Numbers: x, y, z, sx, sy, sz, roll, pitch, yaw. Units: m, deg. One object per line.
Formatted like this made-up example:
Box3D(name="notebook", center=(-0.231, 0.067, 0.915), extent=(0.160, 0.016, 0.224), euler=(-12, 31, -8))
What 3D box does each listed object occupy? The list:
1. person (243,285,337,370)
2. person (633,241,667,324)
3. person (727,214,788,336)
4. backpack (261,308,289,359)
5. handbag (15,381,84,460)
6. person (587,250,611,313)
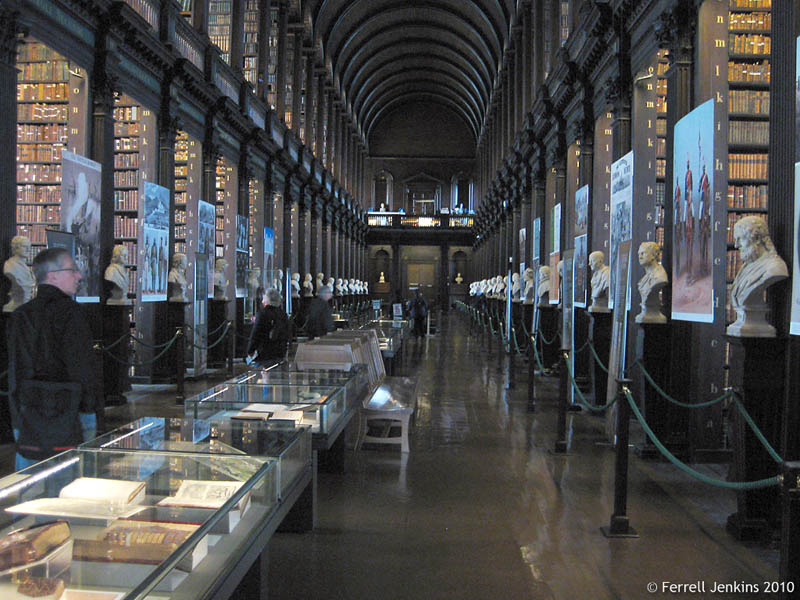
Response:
Box3D(name="person", center=(-1.737, 0.392, 10.524), extent=(1.331, 1.117, 0.535), euler=(-4, 9, -29))
Box3D(name="person", center=(2.707, -0.194, 7.442), extent=(0.305, 0.867, 0.841), euler=(1, 2, 22))
Box3D(name="person", center=(2.634, -0.170, 5.122), extent=(0.389, 0.898, 0.305), euler=(1, 2, 28))
Box3D(name="backpack", center=(-1.536, 0.416, 8.540), extent=(0.474, 0.691, 0.329), euler=(-1, 2, -39))
Box3D(name="handbag", center=(-2.099, 0.720, 4.183), extent=(0.412, 0.618, 0.300), euler=(0, -1, 0))
Box3D(name="person", center=(2.707, -0.264, 9.450), extent=(0.309, 0.930, 0.783), euler=(1, 4, 7))
